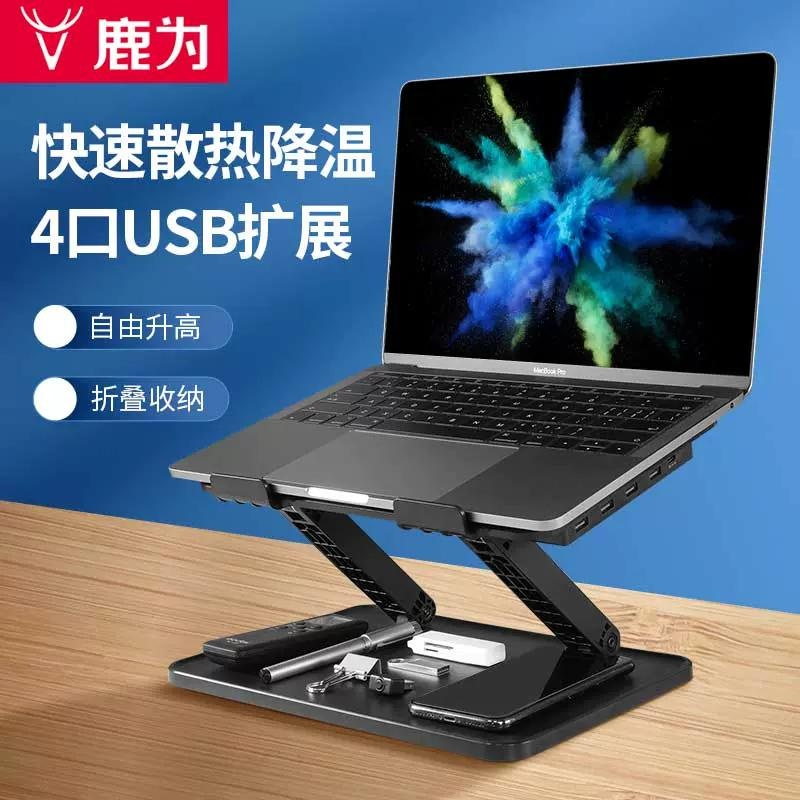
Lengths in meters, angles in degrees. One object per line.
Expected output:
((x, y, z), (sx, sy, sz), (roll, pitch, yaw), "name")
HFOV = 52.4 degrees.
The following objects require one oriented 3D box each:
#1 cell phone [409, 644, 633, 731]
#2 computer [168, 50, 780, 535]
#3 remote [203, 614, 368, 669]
((0.099, 0.200, 0.584), (0.076, 0.012, 0.201), (0, 0, 38), "cell phone")
((0.108, -0.113, 0.894), (0.703, 0.409, 0.557), (9, 20, 41), "computer")
((-0.099, 0.180, 0.665), (0.038, 0.019, 0.128), (7, 9, 41), "remote")
